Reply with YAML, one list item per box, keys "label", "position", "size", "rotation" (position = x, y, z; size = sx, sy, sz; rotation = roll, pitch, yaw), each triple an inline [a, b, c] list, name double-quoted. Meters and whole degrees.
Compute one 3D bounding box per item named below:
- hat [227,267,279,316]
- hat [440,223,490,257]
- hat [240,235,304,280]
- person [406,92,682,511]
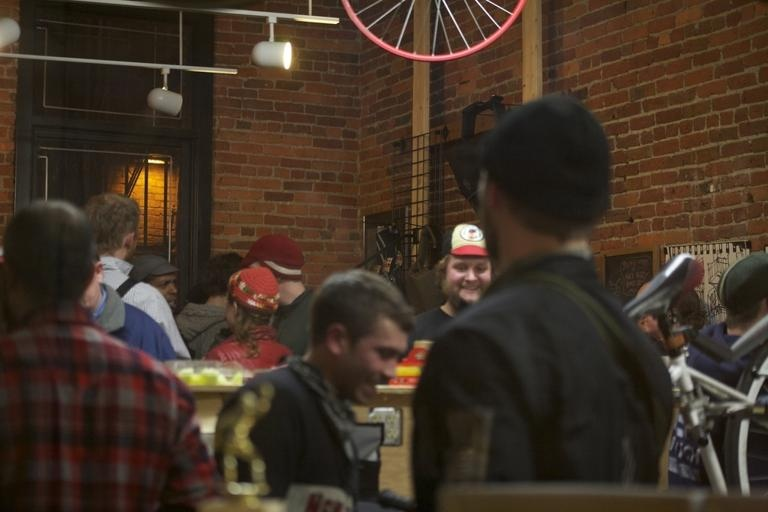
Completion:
- label: "hat"
  position: [-0.621, 0.170, 5.596]
  size: [0.243, 0.161, 0.315]
  rotation: [-6, 14, -29]
- label: "hat"
  position: [0.459, -0.099, 6.116]
  size: [0.230, 0.158, 0.322]
  rotation: [-1, 15, -15]
- label: "hat"
  position: [-0.651, -0.020, 6.531]
  size: [0.423, 0.225, 0.296]
  rotation: [12, 16, -3]
- label: "person"
  position: [0.493, 0.145, 3.301]
  size: [0.751, 1.226, 0.265]
  rotation: [8, -6, -28]
